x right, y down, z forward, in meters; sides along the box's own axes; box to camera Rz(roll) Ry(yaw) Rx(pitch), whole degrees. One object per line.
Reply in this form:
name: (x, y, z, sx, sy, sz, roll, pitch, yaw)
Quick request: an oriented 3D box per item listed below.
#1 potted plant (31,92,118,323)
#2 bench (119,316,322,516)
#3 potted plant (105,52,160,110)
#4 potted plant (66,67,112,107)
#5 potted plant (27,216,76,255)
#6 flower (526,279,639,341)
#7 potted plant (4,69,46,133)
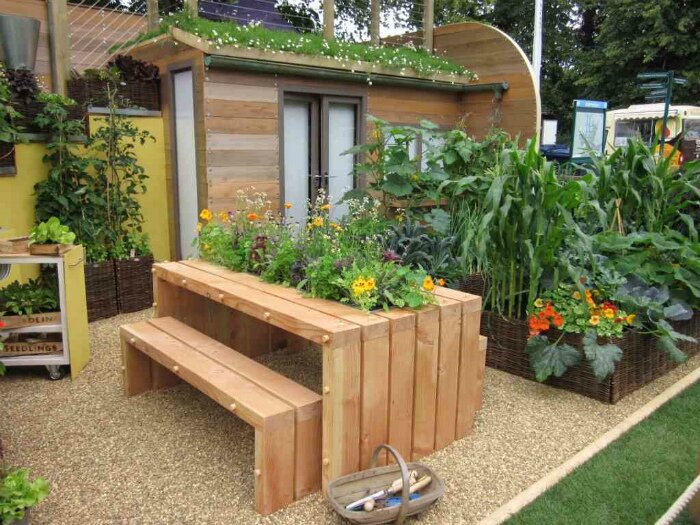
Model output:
potted plant: (-2.794, -0.512, 5.686, 0.684, 2.727, 0.815, -1, 13, -22)
bench: (-0.985, 0.932, 3.672, 1.806, 0.588, 0.513, 16, 16, 42)
potted plant: (-2.767, -2.238, 6.775, 0.516, 0.675, 0.662, -11, 21, -23)
potted plant: (-2.994, -1.933, 6.128, 0.514, 0.331, 0.510, -9, 16, -41)
potted plant: (-2.397, -0.222, 4.323, 0.323, 0.229, 0.315, 0, 9, -16)
flower: (1.720, 0.373, 4.185, 0.736, 0.411, 0.551, 2, 12, -5)
potted plant: (-3.298, -1.623, 5.449, 0.291, 0.626, 0.273, -7, 16, -30)
